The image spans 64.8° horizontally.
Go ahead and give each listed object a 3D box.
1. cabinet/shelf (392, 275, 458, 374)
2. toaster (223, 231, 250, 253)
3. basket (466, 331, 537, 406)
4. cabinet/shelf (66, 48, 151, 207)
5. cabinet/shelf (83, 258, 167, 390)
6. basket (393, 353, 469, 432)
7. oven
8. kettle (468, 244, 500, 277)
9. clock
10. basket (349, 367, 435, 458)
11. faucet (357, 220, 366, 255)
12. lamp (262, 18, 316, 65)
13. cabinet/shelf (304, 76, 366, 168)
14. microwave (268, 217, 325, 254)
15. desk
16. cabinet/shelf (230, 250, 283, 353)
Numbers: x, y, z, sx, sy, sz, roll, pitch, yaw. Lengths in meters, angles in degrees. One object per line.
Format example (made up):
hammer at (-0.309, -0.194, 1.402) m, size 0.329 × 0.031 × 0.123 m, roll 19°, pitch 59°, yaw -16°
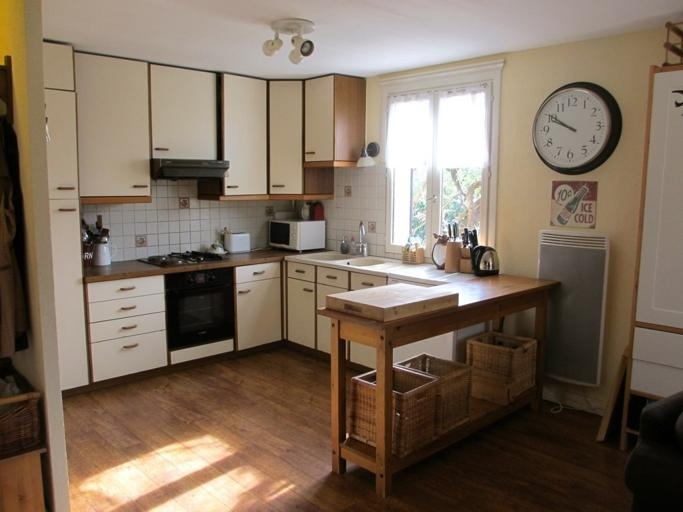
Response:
cabinet/shelf at (0.587, 0.481, 3.724) m, size 0.361 × 0.641 × 0.671 m, roll -1°, pitch 2°, yaw -38°
toaster at (-1.135, -0.160, 5.777) m, size 0.223 × 0.198 × 0.224 m, roll 10°, pitch 13°, yaw 36°
basket at (1.260, 0.864, 4.309) m, size 0.478 × 0.395 × 0.517 m, roll 8°, pitch 8°, yaw 32°
cabinet/shelf at (-2.192, -1.187, 4.953) m, size 0.812 × 1.257 × 0.798 m, roll -2°, pitch 17°, yaw -24°
cabinet/shelf at (-2.047, 0.618, 5.024) m, size 0.688 × 0.939 × 0.753 m, roll -5°, pitch 5°, yaw -24°
basket at (0.678, 0.928, 3.836) m, size 0.439 × 0.340 × 0.441 m, roll -9°, pitch 13°, yaw -38°
oven at (-1.448, 0.469, 5.299) m, size 0.654 × 0.794 × 0.546 m, roll -6°, pitch 13°, yaw -32°
kettle at (1.235, 0.028, 4.620) m, size 0.259 × 0.248 × 0.262 m, roll 3°, pitch 13°, yaw 11°
clock at (1.868, -1.013, 4.224) m, size 0.125 × 0.703 × 0.589 m, roll -3°, pitch -15°, yaw -45°
basket at (0.350, 0.998, 3.586) m, size 0.514 × 0.393 × 0.512 m, roll -7°, pitch 11°, yaw -44°
faucet at (0.223, -0.192, 5.655) m, size 0.078 × 0.337 × 0.167 m, roll 0°, pitch 13°, yaw 2°
lamp at (-0.397, -1.597, 4.031) m, size 0.380 × 0.276 × 0.483 m, roll -1°, pitch 13°, yaw -6°
cabinet/shelf at (-0.075, -1.412, 5.673) m, size 0.570 × 0.908 × 0.549 m, roll -4°, pitch 11°, yaw -35°
microwave at (-0.520, -0.247, 6.057) m, size 0.459 × 0.351 × 0.618 m, roll -5°, pitch 9°, yaw -33°
desk at (0.770, 0.849, 3.964) m, size 1.848 × 1.164 × 0.579 m, roll -8°, pitch 11°, yaw -41°
cabinet/shelf at (-0.995, 0.446, 5.716) m, size 0.512 × 0.950 × 0.621 m, roll -9°, pitch 22°, yaw -31°
